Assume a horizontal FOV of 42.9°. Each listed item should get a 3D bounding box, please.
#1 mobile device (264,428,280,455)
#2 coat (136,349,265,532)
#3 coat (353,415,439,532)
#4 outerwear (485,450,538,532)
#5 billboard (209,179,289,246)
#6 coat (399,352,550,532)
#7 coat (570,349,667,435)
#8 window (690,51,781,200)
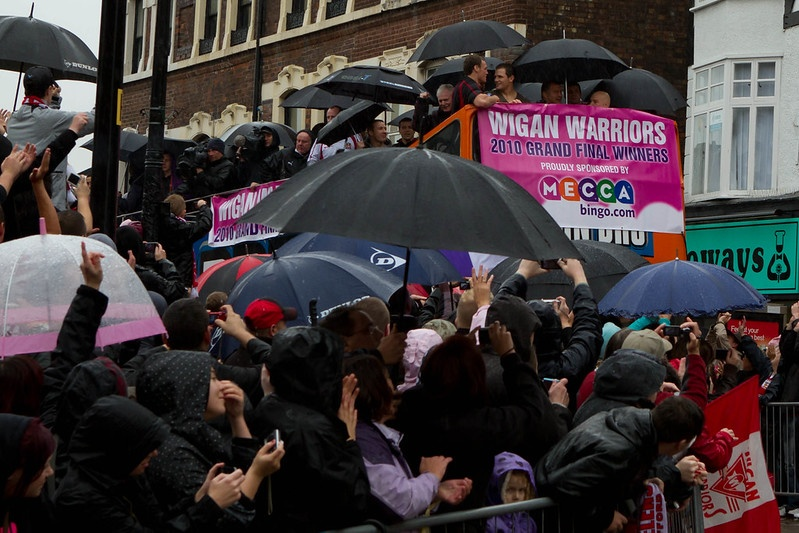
[{"bbox_3d":[-0.791,1.107,6.476,0.033,0.121,0.124,18,-1,-19],"label":"mobile device"},{"bbox_3d":[-1.308,1.173,6.576,0.704,1.212,0.957,-11,10,-25],"label":"coat"},{"bbox_3d":[-0.058,1.431,7.059,0.288,0.685,0.519,-21,5,-3],"label":"coat"},{"bbox_3d":[0.802,1.628,7.278,0.403,0.626,0.369,8,-26,-16],"label":"outerwear"},{"bbox_3d":[-2.350,-0.770,15.469,0.146,0.853,1.515,14,17,36],"label":"billboard"},{"bbox_3d":[0.601,1.230,7.778,0.966,1.245,0.433,2,13,-1],"label":"coat"},{"bbox_3d":[1.712,0.913,7.814,0.489,0.727,0.719,-1,10,-38],"label":"coat"},{"bbox_3d":[7.325,-3.080,23.017,1.155,3.061,3.234,0,1,-11],"label":"window"}]
